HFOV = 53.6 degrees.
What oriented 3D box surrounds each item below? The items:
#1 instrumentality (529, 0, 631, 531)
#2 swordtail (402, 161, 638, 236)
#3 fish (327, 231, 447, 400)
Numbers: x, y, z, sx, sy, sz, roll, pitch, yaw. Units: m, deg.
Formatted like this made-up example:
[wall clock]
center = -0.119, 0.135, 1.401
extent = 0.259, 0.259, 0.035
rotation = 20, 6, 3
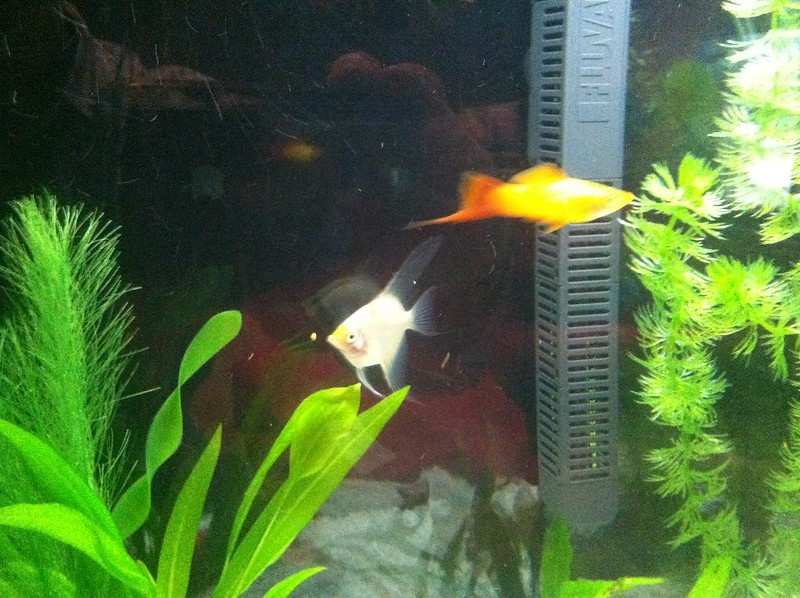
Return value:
[instrumentality]
center = 0.323, -0.046, 1.460
extent = 0.177, 0.946, 0.334
rotation = 0, -11, 9
[swordtail]
center = 0.233, -0.181, 1.466
extent = 0.374, 0.123, 0.100
rotation = 4, 12, 11
[fish]
center = -0.031, 0.048, 1.494
extent = 0.228, 0.348, 0.054
rotation = -7, 28, -22
